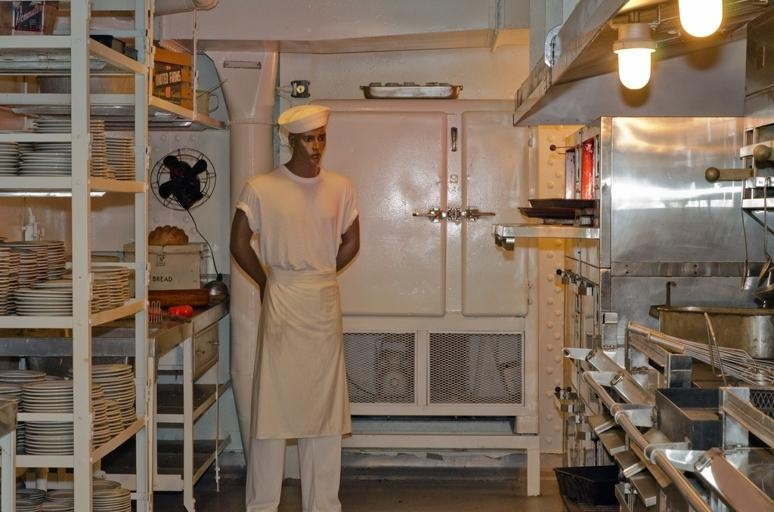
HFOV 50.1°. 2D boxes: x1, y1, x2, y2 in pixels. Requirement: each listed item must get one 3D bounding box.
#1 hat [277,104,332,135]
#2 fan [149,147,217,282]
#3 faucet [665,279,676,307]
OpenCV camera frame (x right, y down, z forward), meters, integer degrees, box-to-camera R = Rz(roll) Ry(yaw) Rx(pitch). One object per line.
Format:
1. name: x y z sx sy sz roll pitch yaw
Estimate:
1. hat: -0.470 -0.769 4.657 0.275 0.170 0.163 1 3 -3
2. fan: -1.369 -0.295 5.637 0.487 0.884 0.196 0 3 -8
3. faucet: 1.407 0.186 4.131 0.050 0.120 0.125 2 3 26
